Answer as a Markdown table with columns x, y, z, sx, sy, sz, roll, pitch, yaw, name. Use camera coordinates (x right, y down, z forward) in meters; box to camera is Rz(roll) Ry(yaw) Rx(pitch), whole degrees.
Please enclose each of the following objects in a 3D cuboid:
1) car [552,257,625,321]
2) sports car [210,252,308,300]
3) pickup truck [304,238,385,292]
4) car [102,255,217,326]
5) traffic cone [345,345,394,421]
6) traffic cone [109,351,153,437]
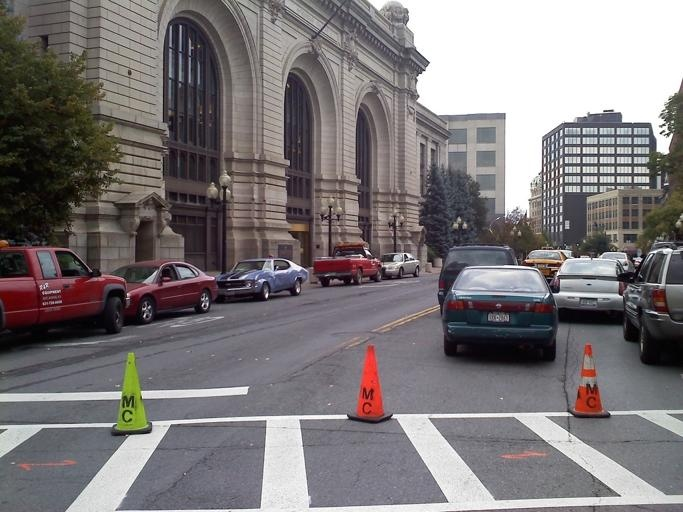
| x | y | z | sx | sy | sz | roll | pitch | yaw | name |
| --- | --- | --- | --- | --- | --- | --- | --- | --- | --- |
| 7.934 | 1.084 | 19.885 | 2.053 | 2.038 | 5.043 | 1 | 1 | 24 | car |
| -3.535 | 1.073 | 28.193 | 2.368 | 1.959 | 5.791 | -5 | -2 | 20 | sports car |
| 0.613 | 0.498 | 39.084 | 2.557 | 2.932 | 5.957 | -4 | -2 | 22 | pickup truck |
| -5.926 | 1.150 | 20.344 | 1.837 | 1.796 | 4.791 | -4 | -1 | 23 | car |
| 0.412 | 1.751 | 8.713 | 0.627 | 1.009 | 0.714 | 1 | -1 | -8 | traffic cone |
| -2.699 | 1.739 | 8.126 | 0.472 | 1.078 | 0.407 | -1 | 2 | 28 | traffic cone |
